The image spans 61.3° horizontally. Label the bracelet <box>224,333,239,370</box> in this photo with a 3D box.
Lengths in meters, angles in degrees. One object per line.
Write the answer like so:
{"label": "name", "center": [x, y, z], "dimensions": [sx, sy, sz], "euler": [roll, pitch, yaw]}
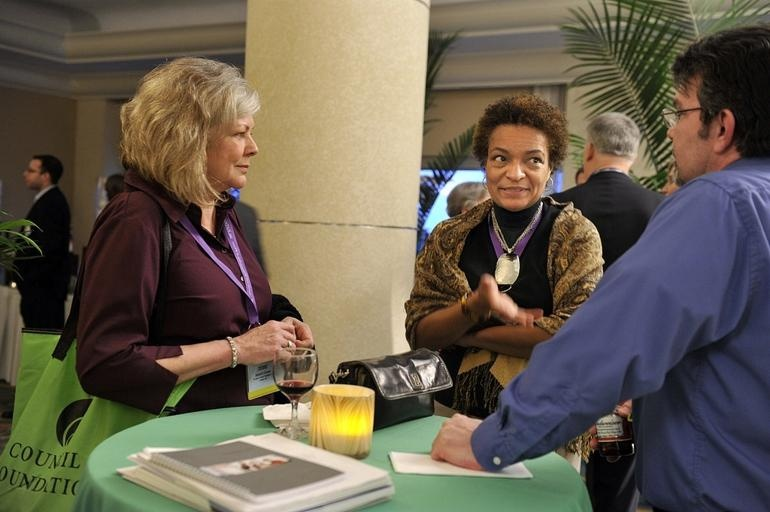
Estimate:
{"label": "bracelet", "center": [-0.515, 0.320, 2.170], "dimensions": [0.060, 0.091, 0.031], "euler": [10, 6, 29]}

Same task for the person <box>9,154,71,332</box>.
{"label": "person", "center": [-3.253, -0.115, 6.187], "dimensions": [0.495, 1.559, 1.035], "euler": [4, 6, -28]}

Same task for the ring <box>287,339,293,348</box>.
{"label": "ring", "center": [-0.323, 0.292, 2.162], "dimensions": [0.017, 0.022, 0.024], "euler": [1, -22, -20]}
